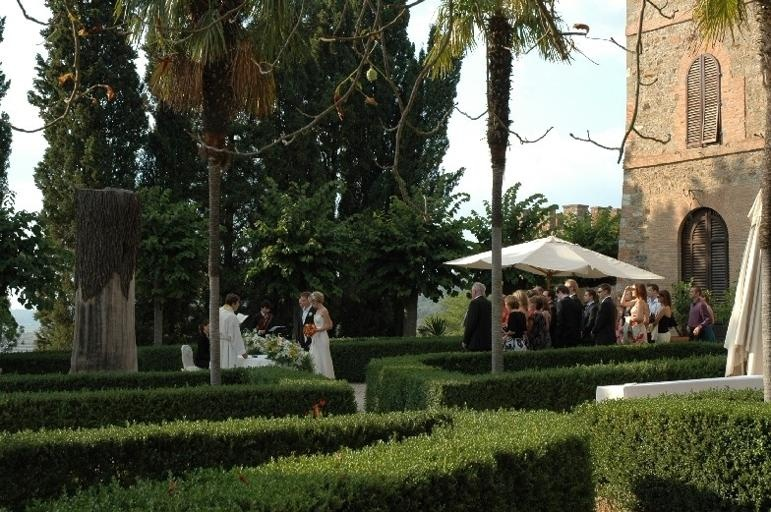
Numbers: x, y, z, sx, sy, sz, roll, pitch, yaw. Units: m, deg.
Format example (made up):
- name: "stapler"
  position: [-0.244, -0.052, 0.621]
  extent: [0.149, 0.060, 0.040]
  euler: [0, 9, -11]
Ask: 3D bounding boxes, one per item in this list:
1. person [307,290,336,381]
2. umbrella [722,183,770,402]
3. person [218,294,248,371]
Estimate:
- name: "person"
  position: [-1.463, 1.720, 23.196]
  extent: [0.576, 1.888, 0.768]
  euler: [0, -6, 16]
- name: "umbrella"
  position: [6.948, 0.602, 20.156]
  extent: [0.744, 3.414, 0.519]
  euler: [-3, -7, 39]
- name: "person"
  position: [-3.246, 1.587, 22.141]
  extent: [0.593, 1.526, 0.646]
  euler: [4, -6, -22]
